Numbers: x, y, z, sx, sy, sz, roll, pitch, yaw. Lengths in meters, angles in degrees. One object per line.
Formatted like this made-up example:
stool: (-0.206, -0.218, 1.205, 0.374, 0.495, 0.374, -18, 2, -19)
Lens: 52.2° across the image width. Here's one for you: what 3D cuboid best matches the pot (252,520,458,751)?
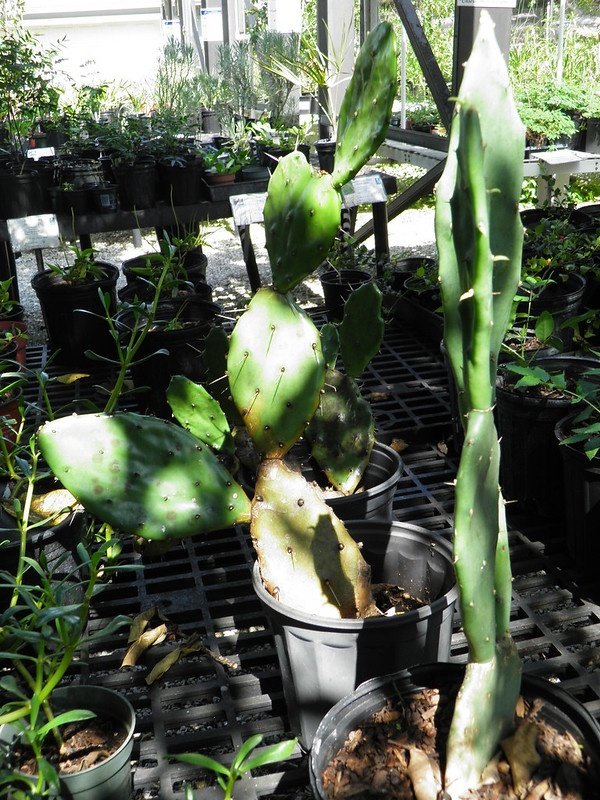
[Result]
pot: (0.097, 0.298, 0.900, 0.286, 0.239, 0.294, -2, 19, 1)
